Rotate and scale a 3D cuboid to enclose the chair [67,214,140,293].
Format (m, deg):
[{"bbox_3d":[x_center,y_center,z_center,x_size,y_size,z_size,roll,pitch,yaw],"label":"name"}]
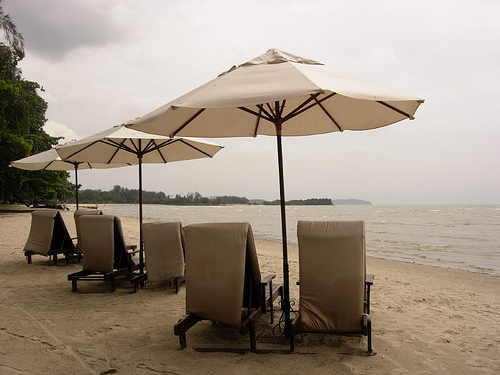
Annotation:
[{"bbox_3d":[-4.112,1.891,13.510,1.202,2.128,3.363,1,-5,5],"label":"chair"}]

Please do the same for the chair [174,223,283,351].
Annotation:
[{"bbox_3d":[-0.323,2.157,11.638,1.948,2.738,3.738,-2,1,18],"label":"chair"}]

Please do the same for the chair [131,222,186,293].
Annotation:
[{"bbox_3d":[-2.360,1.812,12.672,1.334,1.800,2.440,-1,2,9],"label":"chair"}]

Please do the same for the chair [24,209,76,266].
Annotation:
[{"bbox_3d":[-6.606,1.589,14.895,1.298,2.029,1.772,1,-1,25],"label":"chair"}]

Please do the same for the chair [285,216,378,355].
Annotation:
[{"bbox_3d":[2.115,2.130,11.637,1.830,2.875,3.839,-1,1,11],"label":"chair"}]

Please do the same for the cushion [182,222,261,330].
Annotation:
[{"bbox_3d":[-0.594,1.911,10.788,1.512,2.473,1.677,-1,-1,13],"label":"cushion"}]
